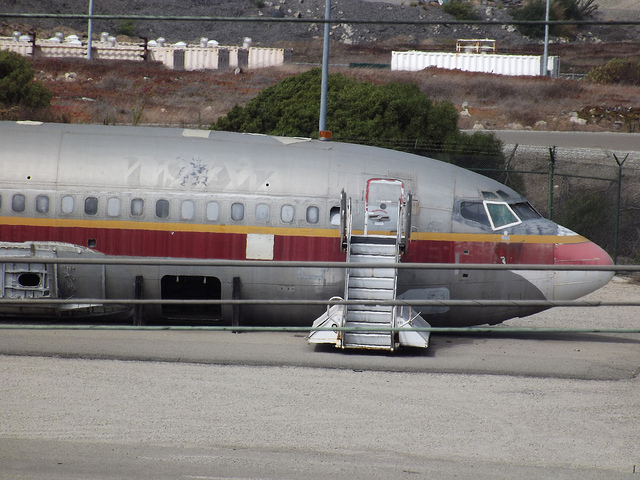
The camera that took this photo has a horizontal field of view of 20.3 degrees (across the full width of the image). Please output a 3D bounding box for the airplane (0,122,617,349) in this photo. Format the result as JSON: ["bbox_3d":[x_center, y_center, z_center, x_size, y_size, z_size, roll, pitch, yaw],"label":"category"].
[{"bbox_3d":[-3.024,1.093,122.118,33.960,9.576,17.185,3,9,3],"label":"airplane"}]
